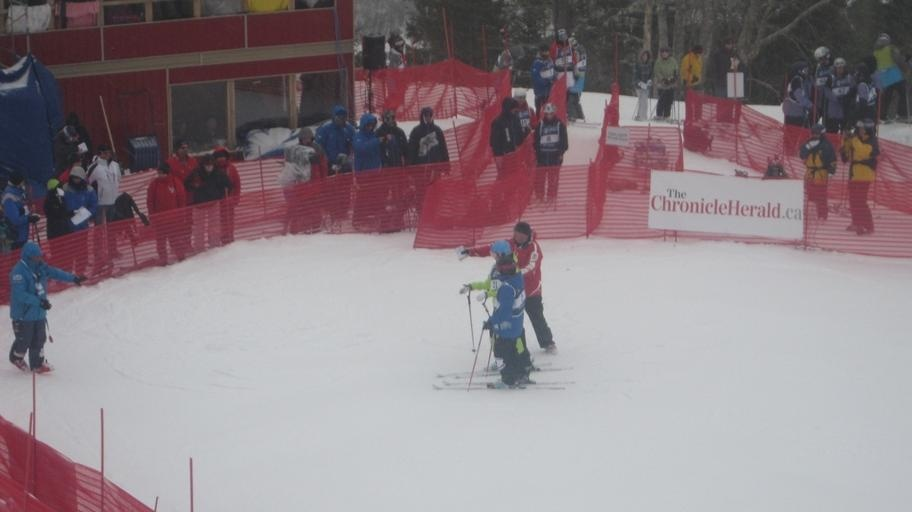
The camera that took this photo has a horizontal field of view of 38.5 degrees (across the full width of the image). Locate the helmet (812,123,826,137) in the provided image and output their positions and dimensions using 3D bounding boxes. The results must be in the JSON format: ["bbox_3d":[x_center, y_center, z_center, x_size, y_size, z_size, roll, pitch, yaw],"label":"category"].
[{"bbox_3d":[10.165,-3.598,37.171,0.369,0.362,0.320,23,32,30],"label":"helmet"}]

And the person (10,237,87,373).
[{"bbox_3d":[-10.375,1.243,32.256,1.050,3.121,1.046,2,10,13],"label":"person"}]
